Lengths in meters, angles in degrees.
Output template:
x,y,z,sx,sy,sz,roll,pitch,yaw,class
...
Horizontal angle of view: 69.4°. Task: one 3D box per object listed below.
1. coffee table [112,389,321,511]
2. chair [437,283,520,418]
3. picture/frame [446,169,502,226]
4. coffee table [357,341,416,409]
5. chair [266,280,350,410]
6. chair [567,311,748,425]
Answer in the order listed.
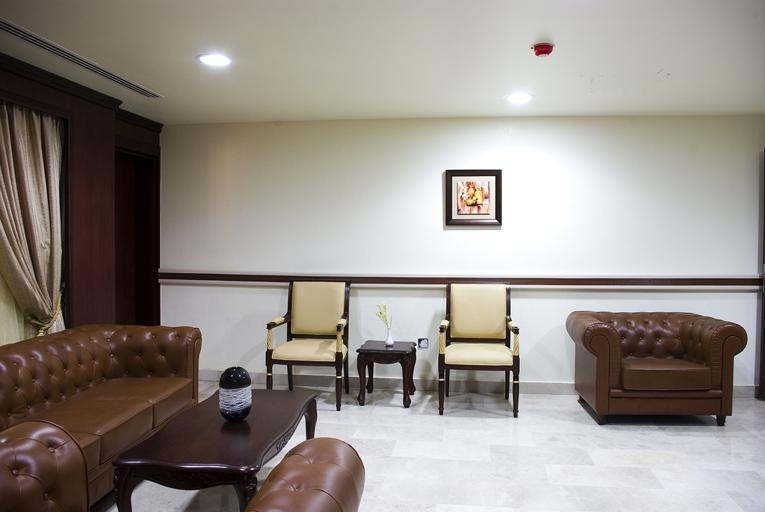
x,y,z,sx,sy,sz,roll,pitch,yaw,class
-1.203,1.357,3.949,0.756,0.416,1.103,1,8,10,coffee table
1.019,0.984,5.918,0.838,1.215,0.915,1,14,6,chair
1.057,-0.676,6.278,0.608,0.639,0.053,0,0,6,picture/frame
0.034,1.230,5.901,0.619,0.638,0.658,0,-1,5,coffee table
-0.818,0.974,6.074,0.847,1.239,0.943,0,14,2,chair
2.817,1.153,5.826,1.488,1.063,1.090,-2,-2,10,chair
